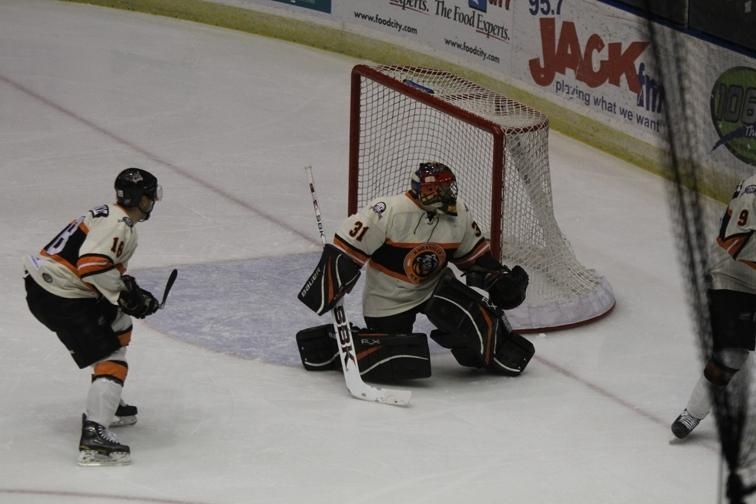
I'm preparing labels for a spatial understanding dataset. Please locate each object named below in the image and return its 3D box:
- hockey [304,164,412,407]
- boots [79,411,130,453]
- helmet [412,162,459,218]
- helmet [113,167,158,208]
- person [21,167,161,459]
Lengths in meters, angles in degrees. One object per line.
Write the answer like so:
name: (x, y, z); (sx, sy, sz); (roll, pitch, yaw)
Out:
hockey: (-0.034, 0.208, 5.527); (0.507, 1.556, 0.050); (-3, 17, -10)
boots: (-1.448, 0.969, 4.932); (0.246, 0.194, 0.103); (-2, 12, -14)
helmet: (0.343, -0.409, 5.810); (0.334, 0.286, 0.248); (8, 19, 7)
helmet: (-1.347, -0.348, 5.169); (0.207, 0.178, 0.249); (14, 6, 28)
person: (-1.553, 0.327, 5.077); (0.654, 1.521, 0.653); (1, 12, 5)
